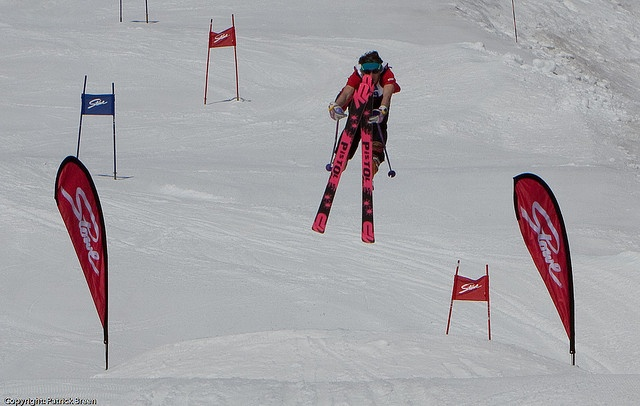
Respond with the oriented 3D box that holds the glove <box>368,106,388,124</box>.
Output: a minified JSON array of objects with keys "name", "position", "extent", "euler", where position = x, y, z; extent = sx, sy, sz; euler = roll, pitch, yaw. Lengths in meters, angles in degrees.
[{"name":"glove","position":[1.355,-2.049,27.495],"extent":[0.384,0.534,0.561],"euler":[10,21,14]}]

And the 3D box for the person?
[{"name":"person","position":[1.082,-2.167,27.767],"extent":[1.404,2.836,1.044],"euler":[6,21,2]}]

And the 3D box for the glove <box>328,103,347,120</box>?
[{"name":"glove","position":[0.331,-2.217,27.654],"extent":[0.203,0.275,0.476],"euler":[-42,41,-5]}]
